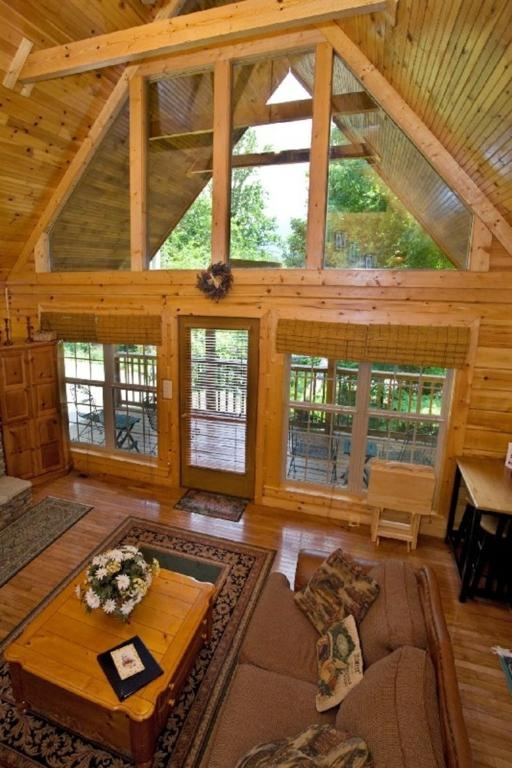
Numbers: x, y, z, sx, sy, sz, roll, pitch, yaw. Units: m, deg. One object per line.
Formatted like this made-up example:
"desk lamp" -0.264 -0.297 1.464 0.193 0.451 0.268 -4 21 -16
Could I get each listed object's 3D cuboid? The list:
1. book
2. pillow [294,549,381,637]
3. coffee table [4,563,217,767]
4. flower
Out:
"book" -0.661 1.473 2.705 0.260 0.041 0.342 -12 19 -38
"pillow" 0.479 1.201 3.029 0.412 0.409 0.125 46 -2 5
"coffee table" -0.839 1.619 2.903 0.883 0.442 0.882 9 23 19
"flower" -0.803 1.118 3.016 0.405 0.345 0.407 -5 17 -29
